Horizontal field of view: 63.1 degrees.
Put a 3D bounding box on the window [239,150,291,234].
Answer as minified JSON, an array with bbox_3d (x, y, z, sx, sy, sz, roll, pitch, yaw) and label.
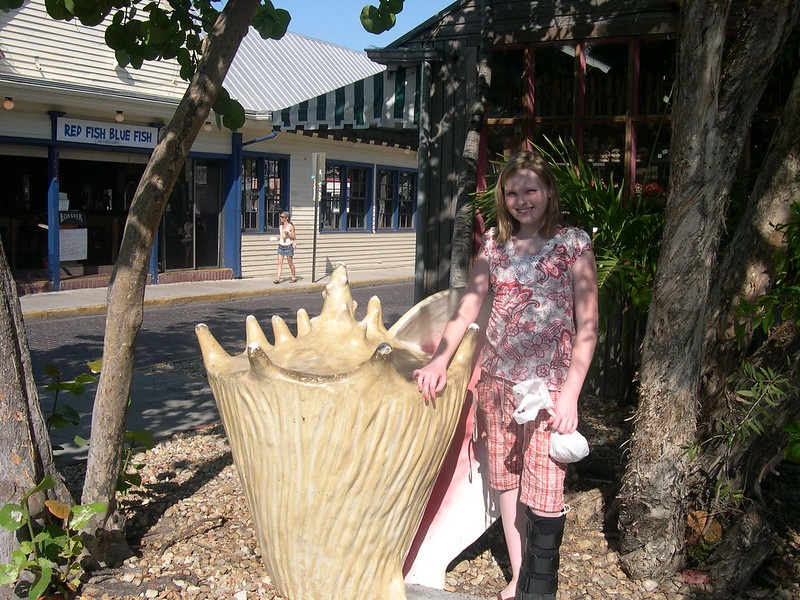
[{"bbox_3d":[-3.666,-2.891,17.278,0.236,2.526,1.822,4,7,29],"label":"window"}]

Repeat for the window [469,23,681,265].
[{"bbox_3d":[1.646,-1.646,6.040,1.870,0.182,2.615,1,55,15],"label":"window"}]

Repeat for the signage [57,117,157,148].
[{"bbox_3d":[-6.138,-3.457,13.637,0.119,0.534,2.143,7,12,37],"label":"signage"}]

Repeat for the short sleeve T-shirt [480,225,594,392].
[{"bbox_3d":[0.603,0.040,2.844,0.538,0.967,0.308,-2,-7,27],"label":"short sleeve T-shirt"}]
